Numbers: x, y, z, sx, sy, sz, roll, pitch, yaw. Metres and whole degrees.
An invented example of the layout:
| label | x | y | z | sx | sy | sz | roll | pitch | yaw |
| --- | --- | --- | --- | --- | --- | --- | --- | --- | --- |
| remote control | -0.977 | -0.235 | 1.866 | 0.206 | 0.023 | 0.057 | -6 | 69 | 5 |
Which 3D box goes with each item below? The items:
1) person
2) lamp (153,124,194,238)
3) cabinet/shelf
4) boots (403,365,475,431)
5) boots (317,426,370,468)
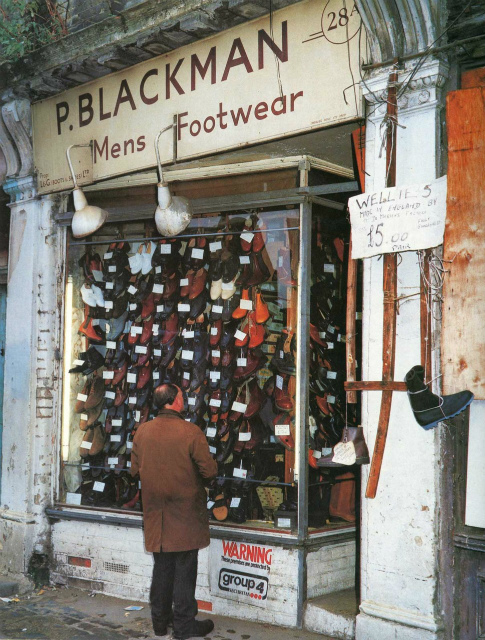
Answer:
| label | x | y | z | sx | sy | sz | roll | pitch | yaw |
| --- | --- | --- | --- | --- | --- | --- | --- | --- | --- |
| person | -0.425 | 1.185 | 5.975 | 0.533 | 1.560 | 0.396 | 0 | -6 | -3 |
| lamp | -0.499 | -1.003 | 6.892 | 0.259 | 0.796 | 0.583 | 0 | -5 | -5 |
| cabinet/shelf | -0.212 | 0.254 | 6.789 | 1.049 | 2.946 | 3.008 | -1 | 1 | -44 |
| boots | 1.057 | 0.418 | 5.181 | 0.376 | 0.345 | 0.137 | -5 | -7 | 43 |
| boots | 0.519 | 0.744 | 5.560 | 0.382 | 0.272 | 0.153 | -1 | -6 | -6 |
